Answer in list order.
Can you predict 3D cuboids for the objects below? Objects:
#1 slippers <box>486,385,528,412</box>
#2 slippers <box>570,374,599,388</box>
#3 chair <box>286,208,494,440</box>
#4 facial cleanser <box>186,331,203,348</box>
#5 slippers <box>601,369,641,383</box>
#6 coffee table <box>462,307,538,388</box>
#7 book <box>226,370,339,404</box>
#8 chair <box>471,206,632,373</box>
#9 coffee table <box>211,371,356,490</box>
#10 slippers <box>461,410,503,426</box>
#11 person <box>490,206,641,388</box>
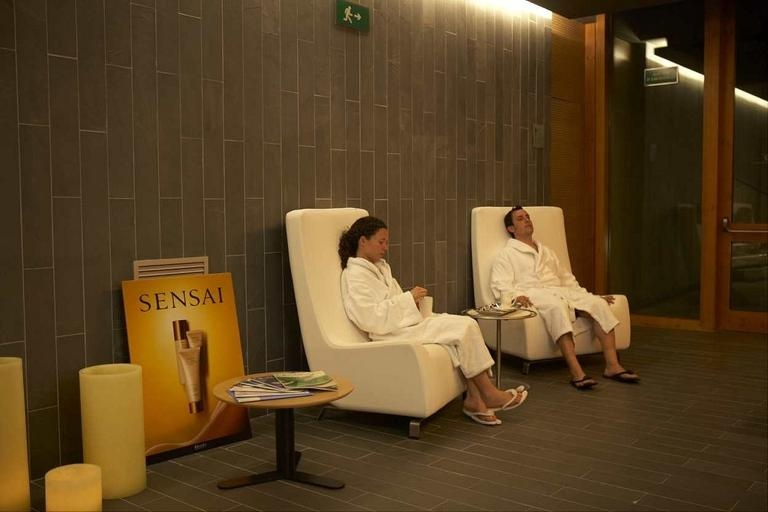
[{"bbox_3d":[0.889,1.067,3.883,0.302,0.067,0.163,-28,20,-2],"label":"slippers"},{"bbox_3d":[1.622,1.014,4.450,0.083,0.067,0.201,-2,-5,-44],"label":"slippers"},{"bbox_3d":[0.004,0.437,4.095,1.124,1.490,0.976,-3,-1,35],"label":"chair"},{"bbox_3d":[-1.225,0.540,3.547,0.036,0.131,0.105,-7,-4,39],"label":"facial cleanser"},{"bbox_3d":[1.985,1.004,4.561,0.234,0.066,0.104,-2,9,31],"label":"slippers"},{"bbox_3d":[0.937,0.795,4.443,0.551,0.707,0.582,5,5,32],"label":"coffee table"},{"bbox_3d":[-0.574,0.732,3.137,0.606,0.079,0.352,-2,8,-9],"label":"book"},{"bbox_3d":[1.699,0.234,5.539,1.370,1.935,1.530,-1,-1,-27],"label":"chair"},{"bbox_3d":[-0.572,1.041,3.170,0.617,0.458,0.668,-3,-5,41],"label":"coffee table"},{"bbox_3d":[0.701,1.124,3.843,0.176,0.058,0.101,5,6,42],"label":"slippers"},{"bbox_3d":[1.555,0.286,4.944,0.941,1.635,1.428,-4,-4,-17],"label":"person"}]
